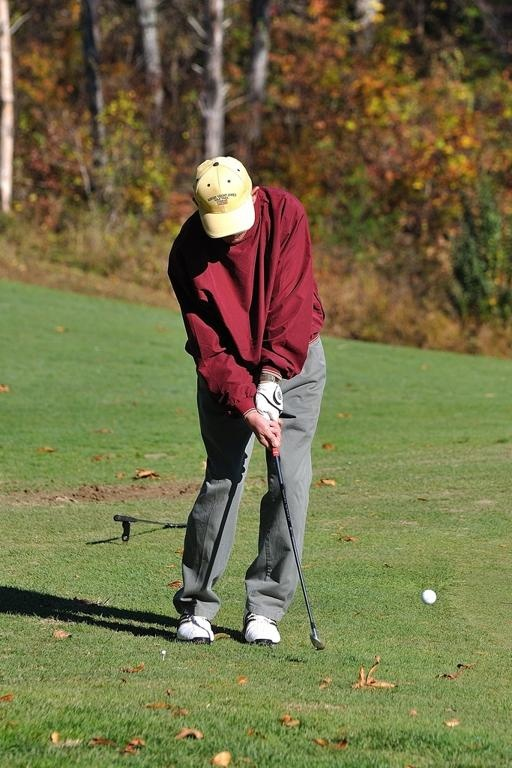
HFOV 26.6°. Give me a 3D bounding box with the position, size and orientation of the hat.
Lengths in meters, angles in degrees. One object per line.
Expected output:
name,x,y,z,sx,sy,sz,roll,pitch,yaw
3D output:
hat,-0.111,-0.637,3.782,0.200,0.279,0.155,-8,-23,1

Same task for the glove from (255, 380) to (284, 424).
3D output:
glove,0.053,0.064,3.816,0.112,0.130,0.054,3,0,-10

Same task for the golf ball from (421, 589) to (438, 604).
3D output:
golf ball,0.689,0.852,4.329,0.050,0.051,0.049,-6,15,2
